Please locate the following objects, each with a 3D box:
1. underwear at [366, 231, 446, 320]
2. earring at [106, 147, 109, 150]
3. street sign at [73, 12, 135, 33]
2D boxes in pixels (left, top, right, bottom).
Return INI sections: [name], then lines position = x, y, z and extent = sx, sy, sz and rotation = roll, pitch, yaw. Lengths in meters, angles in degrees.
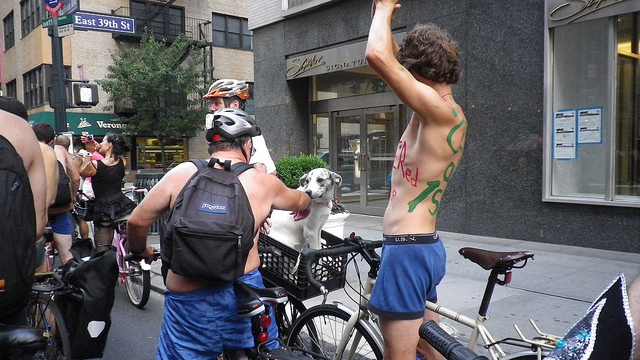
[underwear]
position = 0.917, 1.001, 5.087
extent = 0.787, 0.894, 0.218
rotation = 1, 3, 6
[earring]
position = -3.915, -0.586, 8.806
extent = 0.062, 0.052, 0.014
rotation = 1, 2, -12
[street sign]
position = -5.576, -4.020, 12.280
extent = 1.455, 0.470, 0.230
rotation = 1, 2, -5
